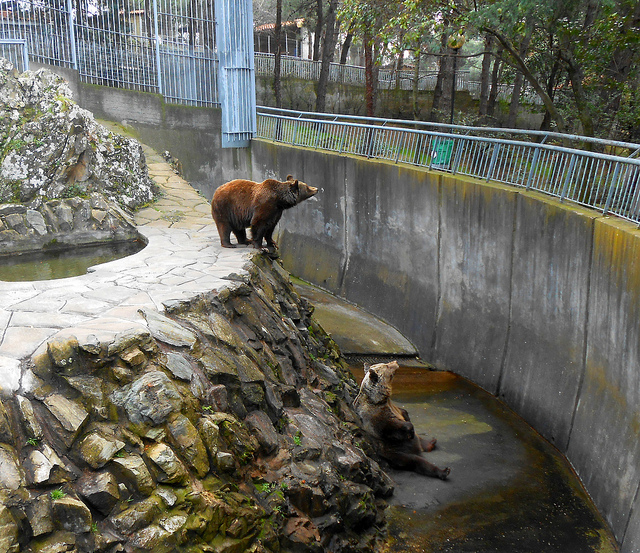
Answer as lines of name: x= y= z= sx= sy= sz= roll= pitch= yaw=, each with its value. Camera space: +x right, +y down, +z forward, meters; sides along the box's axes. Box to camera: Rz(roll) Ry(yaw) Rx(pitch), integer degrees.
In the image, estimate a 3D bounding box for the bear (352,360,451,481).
bear: x=1.132 y=1.922 z=7.509 sx=1.188 sy=1.697 sz=0.875 roll=-10 pitch=18 yaw=15
